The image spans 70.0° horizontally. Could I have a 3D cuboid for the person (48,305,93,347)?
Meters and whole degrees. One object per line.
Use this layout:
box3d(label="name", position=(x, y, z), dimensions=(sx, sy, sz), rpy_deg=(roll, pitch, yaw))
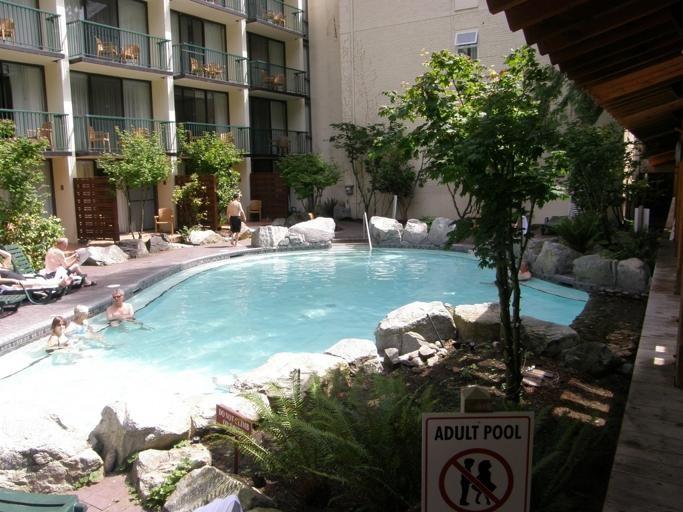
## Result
box3d(label="person", position=(-4.864, 1.279, 8.780), dimensions=(0.493, 0.595, 1.020), rpy_deg=(-1, 7, -4))

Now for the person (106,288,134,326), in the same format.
box3d(label="person", position=(-4.486, 1.084, 9.846), dimensions=(0.551, 0.691, 0.436), rpy_deg=(-8, 12, -33))
